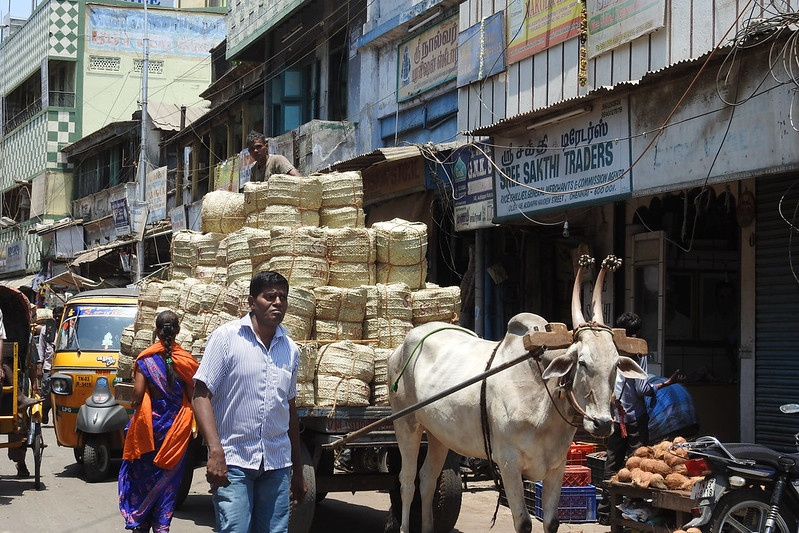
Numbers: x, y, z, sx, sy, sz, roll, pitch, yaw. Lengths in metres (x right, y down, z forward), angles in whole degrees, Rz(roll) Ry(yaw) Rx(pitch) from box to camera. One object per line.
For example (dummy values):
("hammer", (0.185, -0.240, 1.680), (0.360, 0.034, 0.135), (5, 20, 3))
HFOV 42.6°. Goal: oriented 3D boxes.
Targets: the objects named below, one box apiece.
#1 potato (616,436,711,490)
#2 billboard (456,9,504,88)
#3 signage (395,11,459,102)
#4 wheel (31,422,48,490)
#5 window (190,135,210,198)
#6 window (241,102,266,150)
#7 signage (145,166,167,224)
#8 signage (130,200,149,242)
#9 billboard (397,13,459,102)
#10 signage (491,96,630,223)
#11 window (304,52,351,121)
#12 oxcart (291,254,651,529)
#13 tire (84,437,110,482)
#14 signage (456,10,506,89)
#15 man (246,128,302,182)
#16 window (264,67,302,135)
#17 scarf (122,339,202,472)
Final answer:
("potato", (2.995, 2.282, 11.946), (0.724, 0.571, 0.232), (-3, -41, 32))
("billboard", (1.507, -3.807, 18.185), (0.130, 1.047, 1.171), (5, -8, -35))
("signage", (0.621, -4.180, 20.353), (0.084, 1.193, 2.071), (7, -13, -26))
("wheel", (-5.486, 2.880, 15.681), (0.225, 0.975, 1.240), (3, -8, -19))
("window", (-6.528, -3.263, 33.736), (0.347, 1.993, 0.557), (-4, 4, -13))
("window", (-4.231, -4.190, 30.016), (0.671, 1.376, 0.895), (-1, 4, -18))
("signage", (-6.940, -2.047, 29.451), (0.135, 1.772, 1.649), (2, -2, -26))
("signage", (-7.485, -1.365, 29.665), (0.156, 1.522, 1.114), (9, -10, -37))
("billboard", (0.634, -4.162, 20.329), (0.082, 1.176, 2.037), (7, -13, -26))
("signage", (2.488, -1.650, 16.094), (0.130, 1.555, 3.183), (0, -5, -34))
("window", (-1.677, -4.413, 25.131), (0.621, 1.910, 1.942), (0, 0, -23))
("oxcart", (1.140, 1.507, 11.464), (1.149, 3.060, 2.983), (6, -9, -36))
("tire", (-4.670, 2.970, 15.955), (0.398, 0.690, 0.314), (5, -8, -30))
("signage", (1.504, -3.805, 18.188), (0.138, 1.047, 1.170), (5, -7, -36))
("man", (-1.823, -1.569, 14.553), (0.500, 0.895, 1.270), (4, -9, -23))
("window", (-2.985, -4.330, 26.916), (0.680, 2.043, 2.156), (2, -2, -17))
("scarf", (-2.645, 1.722, 11.616), (0.649, 0.939, 1.511), (1, -16, 5))
